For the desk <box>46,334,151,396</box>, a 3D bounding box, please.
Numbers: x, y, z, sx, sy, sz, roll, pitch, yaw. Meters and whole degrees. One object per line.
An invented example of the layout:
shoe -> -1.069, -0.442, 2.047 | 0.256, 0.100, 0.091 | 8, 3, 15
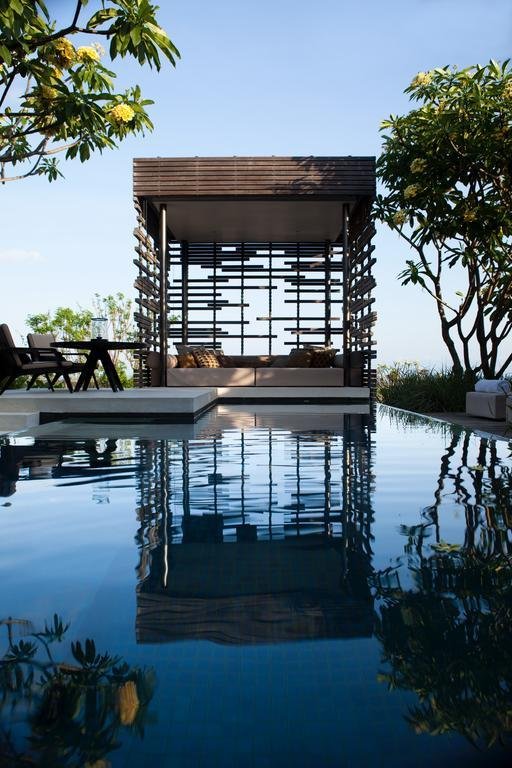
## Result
desk -> -1.637, -0.198, 6.079 | 0.846, 0.563, 1.161 | 0, -1, -25

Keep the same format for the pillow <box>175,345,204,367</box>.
pillow -> -1.044, -0.376, 8.899 | 0.340, 0.345, 0.108 | 4, -36, -17
